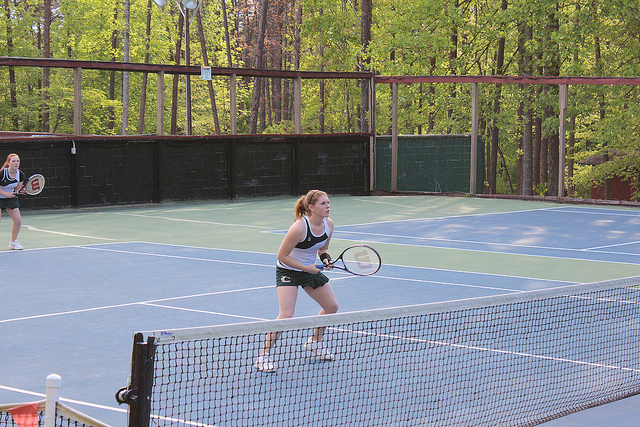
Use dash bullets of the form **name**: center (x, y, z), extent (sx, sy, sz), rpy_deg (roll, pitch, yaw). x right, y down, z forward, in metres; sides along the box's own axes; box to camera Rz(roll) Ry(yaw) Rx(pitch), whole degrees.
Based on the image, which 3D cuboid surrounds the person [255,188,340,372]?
- **person**: center (-0.258, 0.983, 12.677), extent (1.369, 2.654, 1.063), rpy_deg (-1, 4, -42)

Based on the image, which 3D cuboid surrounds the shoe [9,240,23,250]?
- **shoe**: center (-7.196, 0.732, 20.185), extent (0.278, 0.236, 0.384), rpy_deg (-2, 3, -20)

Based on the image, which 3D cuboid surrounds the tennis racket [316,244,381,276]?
- **tennis racket**: center (0.221, 0.729, 12.235), extent (1.365, 0.502, 0.086), rpy_deg (-7, -24, -19)

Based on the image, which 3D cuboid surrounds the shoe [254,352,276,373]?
- **shoe**: center (-0.786, 2.176, 12.293), extent (0.413, 0.177, 0.159), rpy_deg (-2, -2, 41)

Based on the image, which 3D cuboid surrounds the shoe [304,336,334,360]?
- **shoe**: center (-0.016, 2.025, 12.754), extent (0.414, 0.326, 0.438), rpy_deg (-1, 3, -2)
